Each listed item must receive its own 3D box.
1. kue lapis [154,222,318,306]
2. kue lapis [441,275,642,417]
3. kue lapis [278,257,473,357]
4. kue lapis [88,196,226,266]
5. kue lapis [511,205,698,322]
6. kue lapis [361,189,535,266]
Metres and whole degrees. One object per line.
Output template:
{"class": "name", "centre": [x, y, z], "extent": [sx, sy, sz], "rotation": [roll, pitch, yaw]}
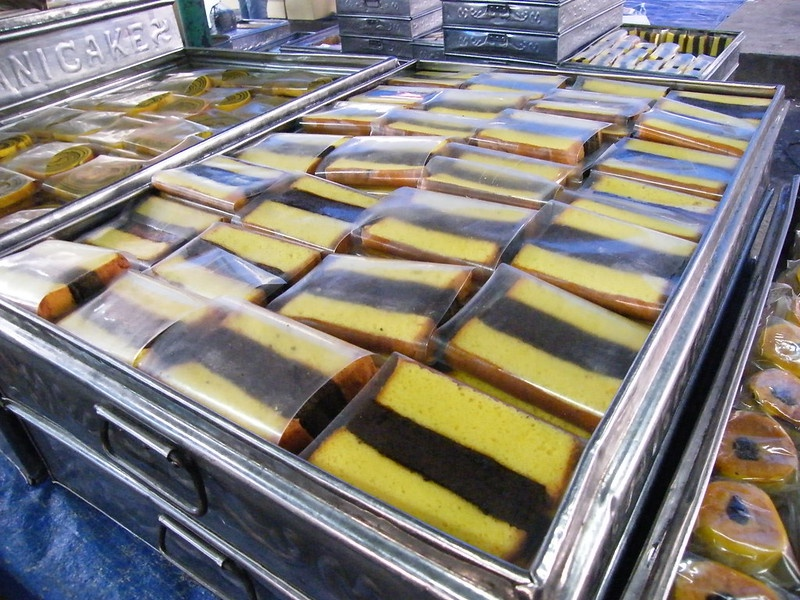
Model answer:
{"class": "kue lapis", "centre": [-0.408, -0.096, 1.311], "extent": [0.301, 0.061, 0.249], "rotation": [18, 39, 22]}
{"class": "kue lapis", "centre": [0.309, 0.091, 1.108], "extent": [0.426, 0.090, 0.267], "rotation": [24, 74, -6]}
{"class": "kue lapis", "centre": [-0.064, -0.021, 1.212], "extent": [0.431, 0.262, 0.089], "rotation": [12, 16, -33]}
{"class": "kue lapis", "centre": [-0.705, -0.180, 1.520], "extent": [0.301, 0.065, 0.260], "rotation": [20, 46, 25]}
{"class": "kue lapis", "centre": [0.438, -0.082, 1.261], "extent": [0.396, 0.072, 0.263], "rotation": [20, 48, 24]}
{"class": "kue lapis", "centre": [0.110, -0.186, 1.330], "extent": [0.373, 0.071, 0.220], "rotation": [12, 41, 20]}
